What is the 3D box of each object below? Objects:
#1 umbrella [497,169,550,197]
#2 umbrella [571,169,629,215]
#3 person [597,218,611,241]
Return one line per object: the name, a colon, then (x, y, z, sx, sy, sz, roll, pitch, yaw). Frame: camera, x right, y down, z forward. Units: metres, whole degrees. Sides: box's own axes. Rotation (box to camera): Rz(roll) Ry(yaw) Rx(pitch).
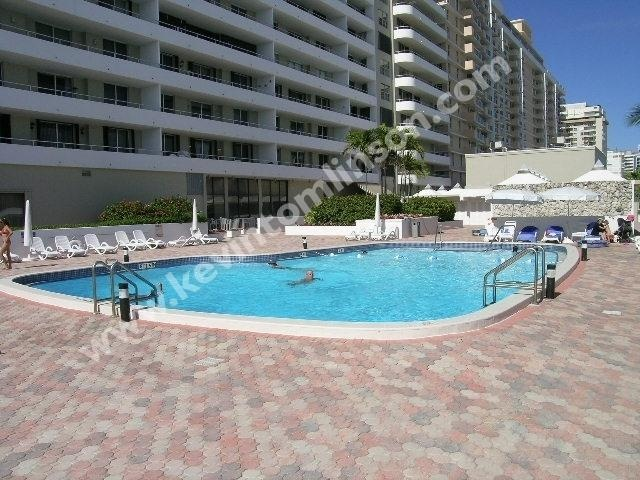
umbrella: (12.668, -3.781, 28.105, 2.556, 1.108, 2.468, -1, 0, 20)
umbrella: (17.599, -3.499, 27.921, 3.482, 2.229, 3.399, -2, 1, 24)
person: (13.279, -0.461, 21.124, 0.489, 1.135, 1.632, 4, 10, 36)
